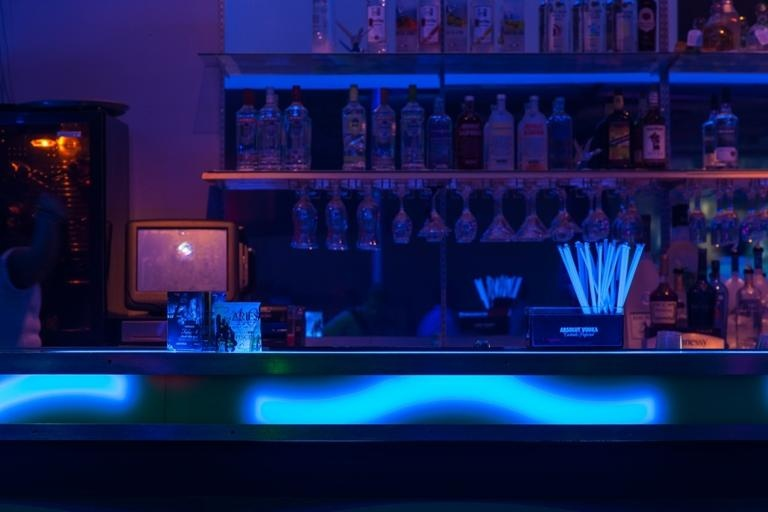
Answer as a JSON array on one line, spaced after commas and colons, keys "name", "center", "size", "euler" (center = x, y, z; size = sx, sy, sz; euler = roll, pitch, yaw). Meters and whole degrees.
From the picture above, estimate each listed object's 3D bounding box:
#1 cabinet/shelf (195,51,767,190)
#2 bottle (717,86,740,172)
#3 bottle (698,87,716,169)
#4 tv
[{"name": "cabinet/shelf", "center": [0.637, -0.849, 8.286], "size": [3.419, 0.722, 0.678], "euler": [0, 3, -3]}, {"name": "bottle", "center": [2.036, -0.748, 8.060], "size": [0.124, 0.451, 0.163], "euler": [1, 4, 13]}, {"name": "bottle", "center": [1.948, -0.731, 8.084], "size": [0.078, 0.432, 0.175], "euler": [1, 4, 14]}, {"name": "tv", "center": [-1.192, 0.050, 8.478], "size": [0.917, 0.693, 0.474], "euler": [0, -5, -3]}]
